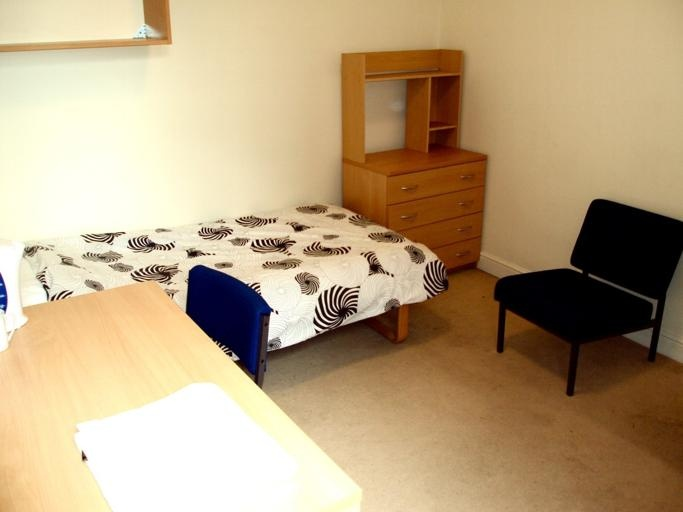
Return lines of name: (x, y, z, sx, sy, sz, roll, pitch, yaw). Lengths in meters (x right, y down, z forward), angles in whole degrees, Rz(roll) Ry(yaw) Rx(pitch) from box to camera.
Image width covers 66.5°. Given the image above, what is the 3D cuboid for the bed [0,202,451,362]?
bed: (-0.545, 0.077, 2.944, 1.817, 0.451, 1.054, -16, 36, -29)
